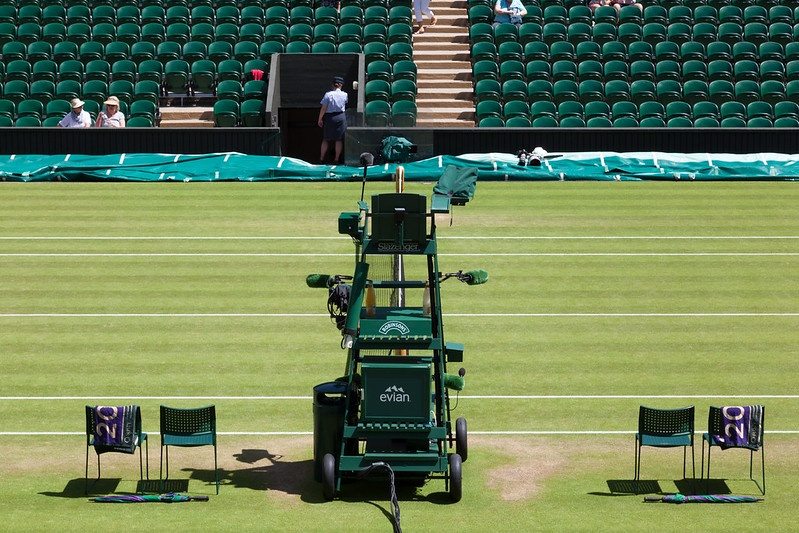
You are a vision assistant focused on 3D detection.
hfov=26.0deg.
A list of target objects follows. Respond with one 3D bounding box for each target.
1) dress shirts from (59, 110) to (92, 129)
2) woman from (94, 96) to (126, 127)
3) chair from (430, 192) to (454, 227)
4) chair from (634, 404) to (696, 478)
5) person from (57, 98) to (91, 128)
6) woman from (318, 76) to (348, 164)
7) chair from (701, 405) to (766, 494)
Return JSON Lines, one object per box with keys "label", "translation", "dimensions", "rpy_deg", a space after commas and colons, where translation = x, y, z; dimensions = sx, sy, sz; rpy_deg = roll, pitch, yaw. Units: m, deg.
{"label": "dress shirts", "translation": [-9.176, -4.046, 48.371], "dimensions": [0.740, 0.487, 0.814], "rpy_deg": [3, 7, 0]}
{"label": "woman", "translation": [-8.209, -4.231, 48.302], "dimensions": [0.838, 0.902, 2.103], "rpy_deg": [-4, 5, -8]}
{"label": "chair", "translation": [0.821, -1.142, 34.234], "dimensions": [0.396, 0.439, 0.299], "rpy_deg": [-8, -40, 10]}
{"label": "chair", "translation": [5.287, 3.534, 34.533], "dimensions": [1.251, 1.571, 1.321], "rpy_deg": [-3, 6, 6]}
{"label": "person", "translation": [-9.308, -4.241, 48.905], "dimensions": [1.158, 1.098, 0.815], "rpy_deg": [1, 30, -7]}
{"label": "woman", "translation": [-1.794, -4.011, 48.553], "dimensions": [1.146, 2.333, 0.904], "rpy_deg": [4, 7, -1]}
{"label": "chair", "translation": [6.682, 3.649, 34.510], "dimensions": [1.280, 1.830, 1.198], "rpy_deg": [-3, 6, 8]}
